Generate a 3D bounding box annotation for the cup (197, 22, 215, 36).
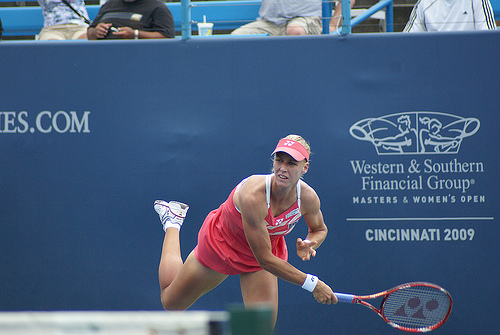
[{"bbox_3d":[-0.633,-1.955,13.836,0.199,0.165,0.173,0,-1,-11],"label":"cup"}]
